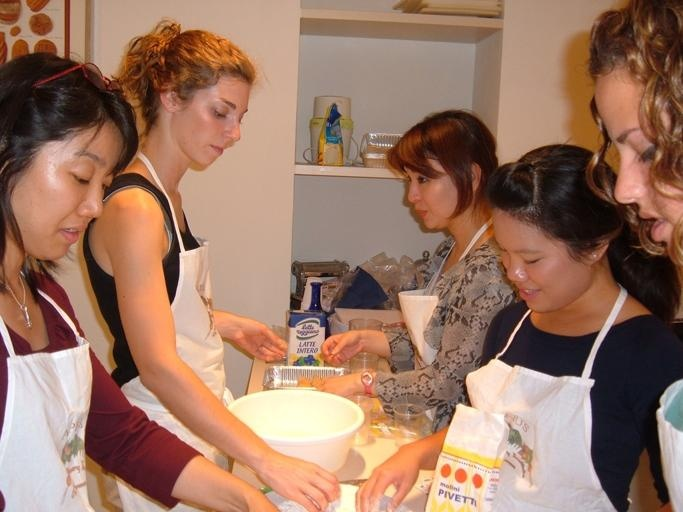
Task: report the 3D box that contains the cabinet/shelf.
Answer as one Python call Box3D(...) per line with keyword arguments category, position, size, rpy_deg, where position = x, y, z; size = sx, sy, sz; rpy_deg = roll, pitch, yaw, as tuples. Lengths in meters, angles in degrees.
Box3D(category="cabinet/shelf", position=(0.240, -0.845, 2.696), size=(1.080, 0.946, 0.368), rpy_deg=(2, 3, -5))

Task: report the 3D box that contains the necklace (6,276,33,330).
Box3D(category="necklace", position=(-0.702, 0.094, 1.174), size=(0.030, 0.103, 0.011), rpy_deg=(-18, 2, -41))

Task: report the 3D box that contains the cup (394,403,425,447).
Box3D(category="cup", position=(0.198, 0.486, 1.574), size=(0.089, 0.081, 0.098), rpy_deg=(0, 1, -10))

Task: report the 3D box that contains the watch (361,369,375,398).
Box3D(category="watch", position=(0.083, 0.396, 1.714), size=(0.041, 0.070, 0.070), rpy_deg=(-2, 2, 3))

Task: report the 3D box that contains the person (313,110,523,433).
Box3D(category="person", position=(0.368, -0.098, 2.448), size=(0.933, 1.717, 0.947), rpy_deg=(1, 11, 6))

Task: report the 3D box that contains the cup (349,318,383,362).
Box3D(category="cup", position=(0.095, 0.321, 2.154), size=(0.118, 0.141, 0.125), rpy_deg=(0, -3, 0))
